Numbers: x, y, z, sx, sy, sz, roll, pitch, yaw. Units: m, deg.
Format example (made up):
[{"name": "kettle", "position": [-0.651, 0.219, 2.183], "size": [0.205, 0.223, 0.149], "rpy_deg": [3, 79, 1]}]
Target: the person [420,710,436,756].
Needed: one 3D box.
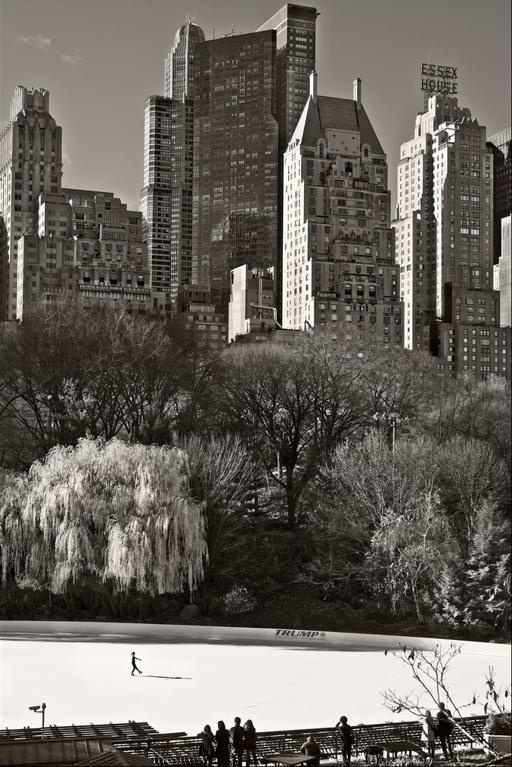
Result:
[{"name": "person", "position": [3.859, 7.716, 28.137], "size": [0.199, 1.116, 0.240], "rpy_deg": [-5, 13, 7]}]

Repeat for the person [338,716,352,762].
[{"name": "person", "position": [1.921, 7.812, 27.758], "size": [0.330, 1.081, 0.784], "rpy_deg": [1, -1, 5]}]
